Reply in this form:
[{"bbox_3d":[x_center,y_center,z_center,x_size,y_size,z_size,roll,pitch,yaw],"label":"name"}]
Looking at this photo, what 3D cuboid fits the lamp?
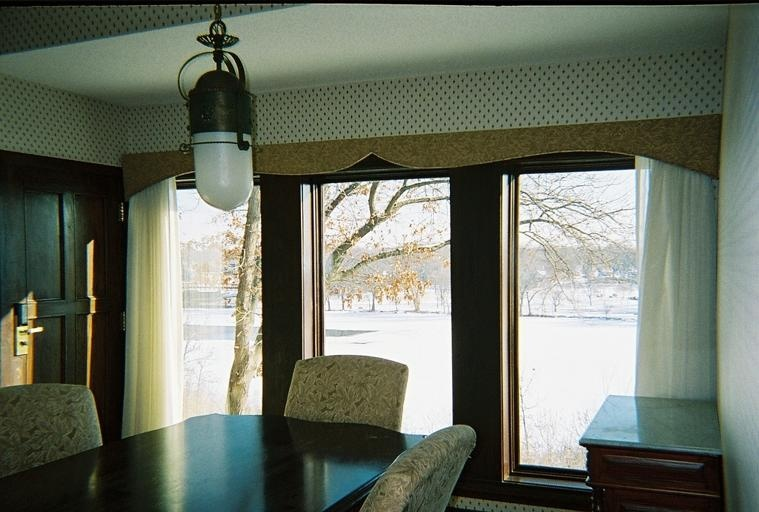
[{"bbox_3d":[-0.693,-0.644,2.562,0.293,0.880,0.426,-2,12,-16],"label":"lamp"}]
